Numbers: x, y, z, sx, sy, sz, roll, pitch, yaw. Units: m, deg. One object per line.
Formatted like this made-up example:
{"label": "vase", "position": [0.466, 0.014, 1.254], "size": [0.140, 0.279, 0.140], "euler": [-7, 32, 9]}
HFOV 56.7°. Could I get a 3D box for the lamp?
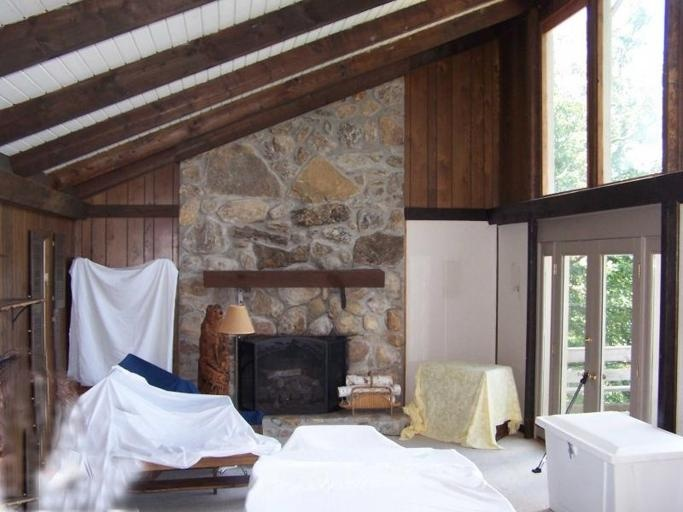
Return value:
{"label": "lamp", "position": [-1.133, 1.062, 6.606], "size": [0.351, 1.289, 1.084], "euler": [2, 7, -10]}
